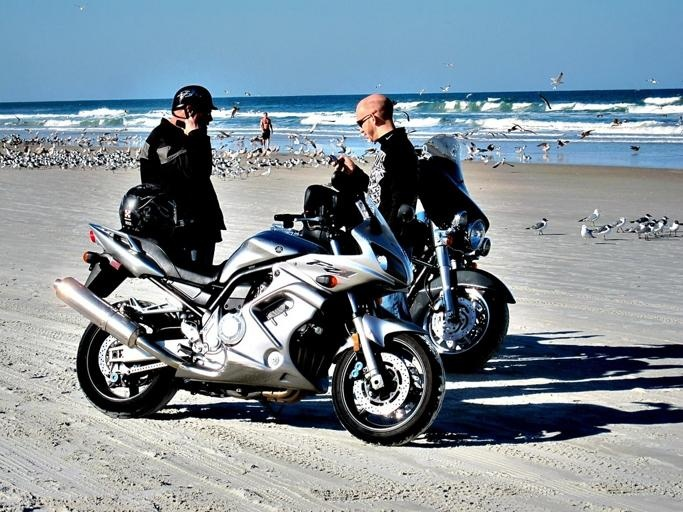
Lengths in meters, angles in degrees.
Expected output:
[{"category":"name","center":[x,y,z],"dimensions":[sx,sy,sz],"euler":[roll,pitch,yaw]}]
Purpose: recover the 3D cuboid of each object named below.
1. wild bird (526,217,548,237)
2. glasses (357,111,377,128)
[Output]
[{"category":"wild bird","center":[4.128,-0.619,13.005],"dimensions":[0.699,0.347,0.298],"euler":[2,11,29]},{"category":"glasses","center":[0.236,-1.176,5.315],"dimensions":[0.128,0.033,0.114],"euler":[-27,-1,-25]}]
